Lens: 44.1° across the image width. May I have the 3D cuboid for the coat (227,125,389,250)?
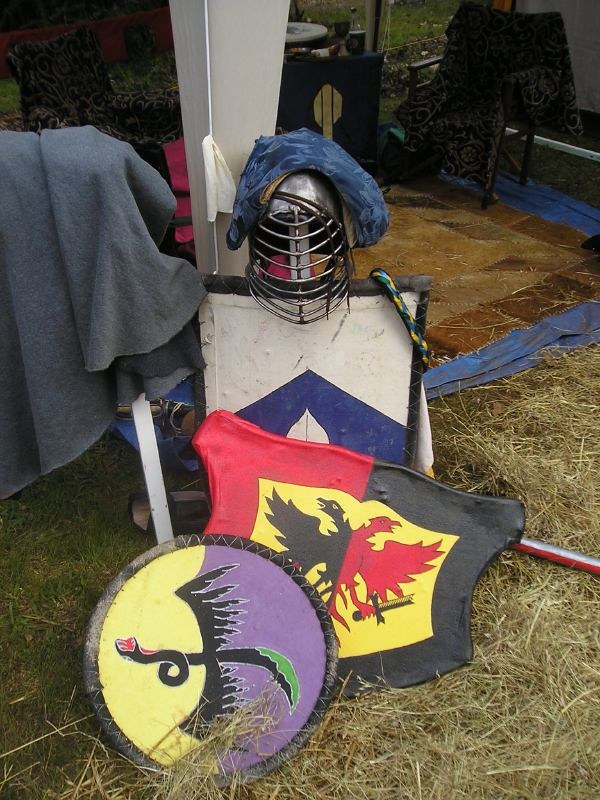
[{"bbox_3d":[0.017,-0.552,1.992,0.427,0.289,0.335,-2,32,-7],"label":"coat"}]

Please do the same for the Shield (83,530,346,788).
[{"bbox_3d":[-0.220,0.633,1.769,0.576,0.325,0.438,12,33,15],"label":"Shield"}]

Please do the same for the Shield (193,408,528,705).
[{"bbox_3d":[0.064,0.421,1.968,1.057,0.219,0.644,28,70,-21],"label":"Shield"}]

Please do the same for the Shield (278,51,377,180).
[{"bbox_3d":[0.224,-1.949,4.998,0.727,0.602,0.241,10,32,19],"label":"Shield"}]

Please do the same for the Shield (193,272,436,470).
[{"bbox_3d":[0.024,-0.088,2.113,0.720,0.732,0.127,1,38,3],"label":"Shield"}]
